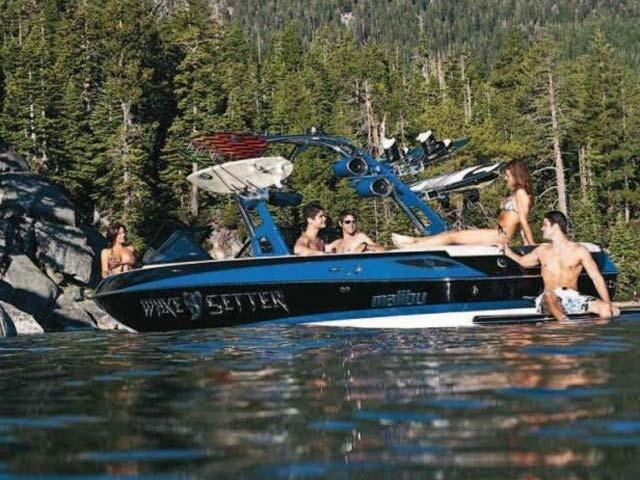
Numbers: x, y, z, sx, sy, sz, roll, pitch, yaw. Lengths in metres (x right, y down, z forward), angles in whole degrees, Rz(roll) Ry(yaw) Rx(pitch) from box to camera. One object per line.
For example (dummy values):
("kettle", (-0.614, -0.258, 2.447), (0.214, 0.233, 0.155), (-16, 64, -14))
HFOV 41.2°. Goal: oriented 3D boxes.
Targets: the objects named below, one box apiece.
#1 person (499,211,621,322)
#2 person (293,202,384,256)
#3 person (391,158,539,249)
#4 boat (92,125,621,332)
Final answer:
("person", (3.492, 0.355, 11.773), (1.109, 1.466, 0.795), (-2, 5, 21))
("person", (0.166, -0.131, 14.234), (1.492, 0.620, 0.824), (-5, 6, 19))
("person", (2.337, -0.458, 13.665), (2.729, 1.269, 0.977), (-6, 11, 21))
("boat", (-0.539, 0.042, 14.548), (10.039, 3.289, 3.224), (0, -9, 0))
